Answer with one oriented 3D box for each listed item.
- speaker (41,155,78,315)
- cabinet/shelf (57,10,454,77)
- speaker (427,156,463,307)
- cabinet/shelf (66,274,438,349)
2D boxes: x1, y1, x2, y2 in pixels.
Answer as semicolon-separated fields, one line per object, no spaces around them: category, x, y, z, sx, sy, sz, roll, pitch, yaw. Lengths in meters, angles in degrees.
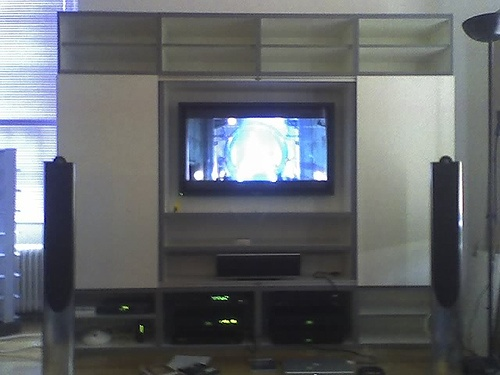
speaker;-1.471;0.396;5.657;0.261;1.279;0.217;0;-5;-17
cabinet/shelf;0.079;-1.267;6.549;3.418;0.684;0.391;0;1;0
speaker;1.544;0.444;5.749;0.319;1.351;0.298;-5;-18;31
cabinet/shelf;0.052;1.199;6.558;3.439;0.585;0.518;0;-7;-5
